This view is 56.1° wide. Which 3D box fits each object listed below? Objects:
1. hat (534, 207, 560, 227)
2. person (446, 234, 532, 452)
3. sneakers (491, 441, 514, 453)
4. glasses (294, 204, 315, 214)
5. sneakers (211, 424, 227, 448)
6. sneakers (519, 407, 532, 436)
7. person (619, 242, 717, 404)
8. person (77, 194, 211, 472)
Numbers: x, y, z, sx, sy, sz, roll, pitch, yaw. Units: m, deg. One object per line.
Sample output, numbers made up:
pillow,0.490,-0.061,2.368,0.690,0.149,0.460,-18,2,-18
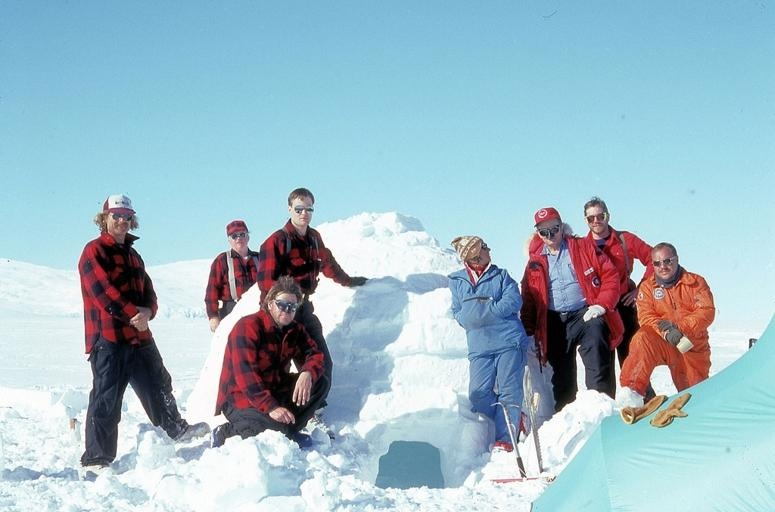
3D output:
hat,1.835,-0.448,8.293,0.260,0.192,0.443,1,-1,13
person,1.139,0.943,8.104,0.835,2.298,0.512,1,-1,9
sneakers,1.255,2.071,7.813,0.222,0.099,0.121,0,-1,24
glasses,-0.962,-0.530,8.336,0.200,0.094,0.102,1,-1,-10
sneakers,-1.773,1.903,7.668,0.139,0.241,0.442,1,-1,-14
sneakers,1.553,1.867,8.114,0.099,0.265,0.379,0,-1,11
person,3.214,0.771,8.307,1.073,1.812,0.674,1,-1,7
person,-2.719,0.811,7.729,0.501,2.883,1.049,0,-1,44
